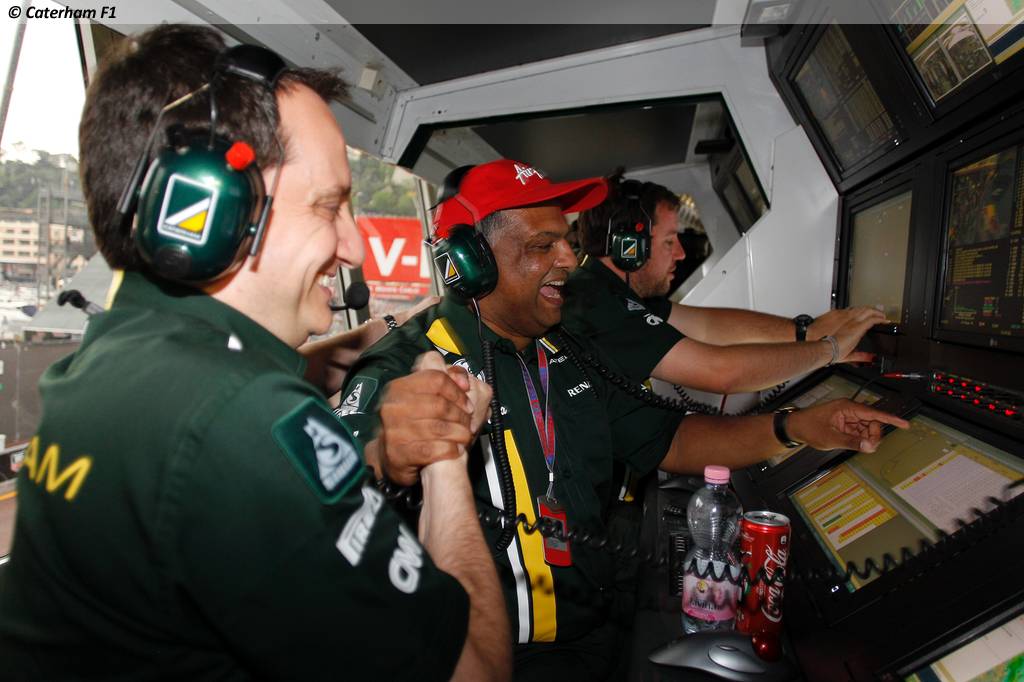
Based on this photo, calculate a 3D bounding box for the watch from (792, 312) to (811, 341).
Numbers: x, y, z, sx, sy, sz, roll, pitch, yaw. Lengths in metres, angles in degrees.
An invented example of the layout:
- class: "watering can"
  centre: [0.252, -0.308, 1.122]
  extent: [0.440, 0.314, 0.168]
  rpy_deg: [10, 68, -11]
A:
- class: "watch"
  centre: [1.109, -0.055, 2.620]
  extent: [0.067, 0.093, 0.032]
  rpy_deg: [2, 3, 25]

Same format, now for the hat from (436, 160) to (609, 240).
- class: "hat"
  centre: [0.026, -0.468, 2.203]
  extent: [0.494, 0.174, 0.318]
  rpy_deg: [-18, 1, 5]

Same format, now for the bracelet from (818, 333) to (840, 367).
- class: "bracelet"
  centre: [1.091, 0.032, 2.375]
  extent: [0.020, 0.079, 0.083]
  rpy_deg: [-5, 23, 13]

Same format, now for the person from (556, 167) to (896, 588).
- class: "person"
  centre: [0.711, -0.092, 2.673]
  extent: [1.158, 0.696, 0.817]
  rpy_deg: [-4, 12, -4]

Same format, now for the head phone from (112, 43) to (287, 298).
- class: "head phone"
  centre: [-0.559, -0.293, 1.261]
  extent: [0.284, 0.395, 0.149]
  rpy_deg: [18, -5, -21]

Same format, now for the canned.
- class: "canned"
  centre: [0.612, 0.571, 1.683]
  extent: [0.116, 0.276, 0.123]
  rpy_deg: [8, 7, 8]

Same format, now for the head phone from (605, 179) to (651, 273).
- class: "head phone"
  centre: [0.504, -0.481, 2.950]
  extent: [0.131, 0.364, 0.264]
  rpy_deg: [7, -5, -34]
